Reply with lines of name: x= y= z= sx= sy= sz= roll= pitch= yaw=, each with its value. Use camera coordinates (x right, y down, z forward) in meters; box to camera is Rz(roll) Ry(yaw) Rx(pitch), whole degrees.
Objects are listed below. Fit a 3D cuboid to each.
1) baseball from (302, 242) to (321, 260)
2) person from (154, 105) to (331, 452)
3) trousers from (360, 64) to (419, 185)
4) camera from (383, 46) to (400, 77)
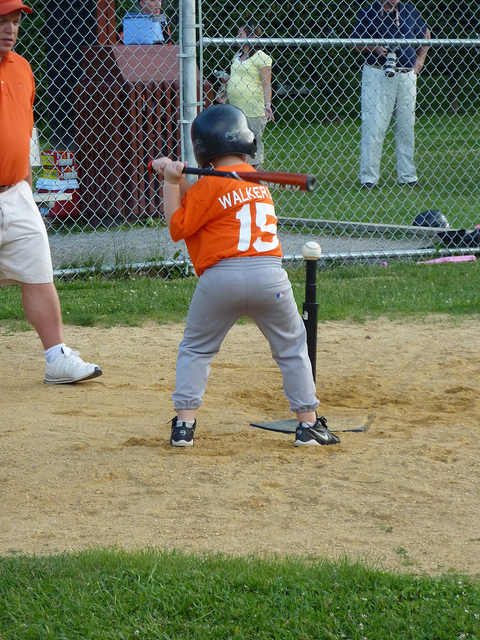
baseball: x=0.289 y=-0.277 z=3.867 sx=0.074 sy=0.075 sz=0.071 roll=-11 pitch=12 yaw=-13
person: x=0.043 y=-0.148 z=3.580 sx=0.638 sy=1.269 sz=0.546 roll=-5 pitch=15 yaw=-21
trousers: x=1.453 y=-1.891 z=9.378 sx=0.537 sy=1.161 sz=1.125 roll=3 pitch=14 yaw=9
camera: x=1.392 y=-2.380 z=8.823 sx=0.143 sy=0.267 sz=0.363 roll=3 pitch=13 yaw=8
